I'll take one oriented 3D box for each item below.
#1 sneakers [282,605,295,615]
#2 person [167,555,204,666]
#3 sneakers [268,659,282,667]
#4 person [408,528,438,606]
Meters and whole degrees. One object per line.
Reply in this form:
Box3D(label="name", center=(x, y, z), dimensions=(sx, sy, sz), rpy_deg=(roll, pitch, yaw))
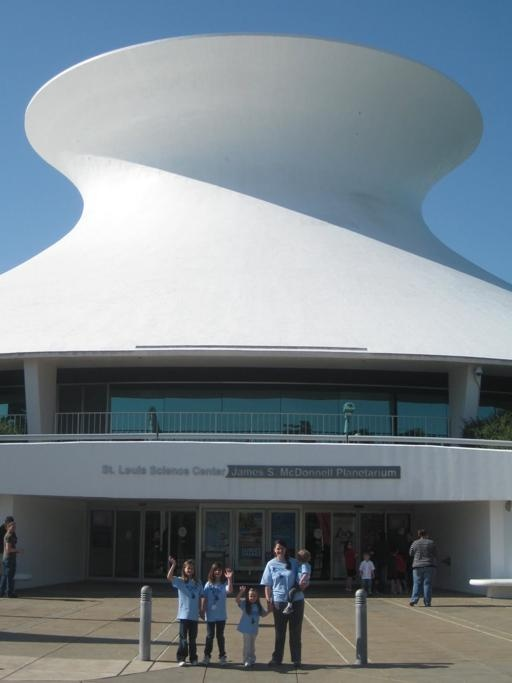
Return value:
Box3D(label="sneakers", center=(0.401, 3.309, 12.453), dimensions=(0.061, 0.093, 0.191), rpy_deg=(-7, -17, 29))
Box3D(label="person", center=(-0.901, 3.415, 12.837), dimensions=(0.419, 1.278, 0.982), rpy_deg=(0, -9, -5))
Box3D(label="sneakers", center=(0.240, 3.954, 12.383), dimensions=(0.160, 0.078, 0.160), rpy_deg=(0, -10, -1))
Box3D(label="person", center=(3.096, 4.202, 18.759), dimensions=(0.519, 1.360, 1.821), rpy_deg=(-2, -10, 9))
